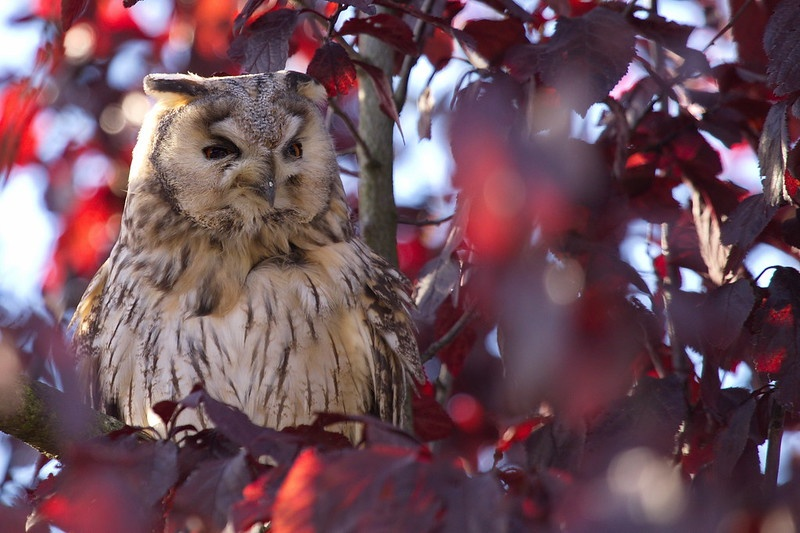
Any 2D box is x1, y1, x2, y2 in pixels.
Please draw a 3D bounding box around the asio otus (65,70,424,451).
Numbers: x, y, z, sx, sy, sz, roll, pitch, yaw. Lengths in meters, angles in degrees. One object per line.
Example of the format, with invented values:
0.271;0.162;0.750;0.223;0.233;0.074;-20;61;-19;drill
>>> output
-0.504;0.033;3.632;1.008;0.789;1.110;-22;48;-15;asio otus
